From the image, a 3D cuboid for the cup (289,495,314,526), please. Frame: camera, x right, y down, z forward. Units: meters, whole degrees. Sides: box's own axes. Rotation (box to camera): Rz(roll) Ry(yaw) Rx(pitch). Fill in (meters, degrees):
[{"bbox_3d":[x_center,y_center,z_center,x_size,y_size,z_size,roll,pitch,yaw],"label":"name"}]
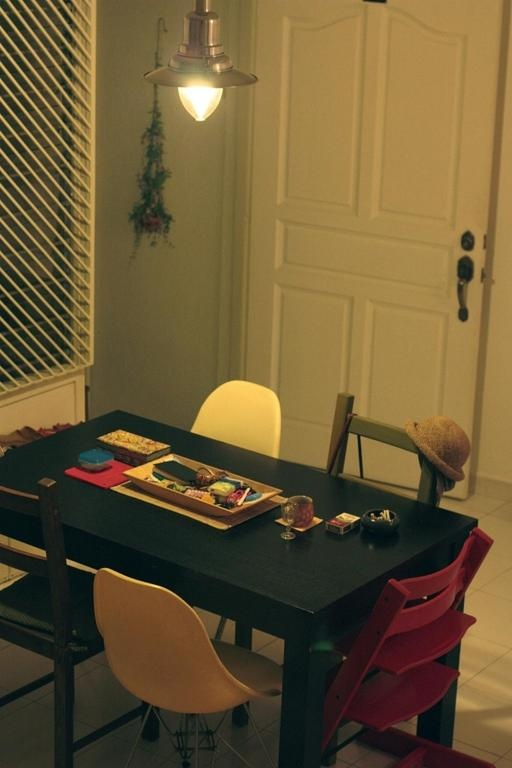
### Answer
[{"bbox_3d":[0.108,0.280,1.670,0.066,0.063,0.064,0,7,0],"label":"cup"}]
